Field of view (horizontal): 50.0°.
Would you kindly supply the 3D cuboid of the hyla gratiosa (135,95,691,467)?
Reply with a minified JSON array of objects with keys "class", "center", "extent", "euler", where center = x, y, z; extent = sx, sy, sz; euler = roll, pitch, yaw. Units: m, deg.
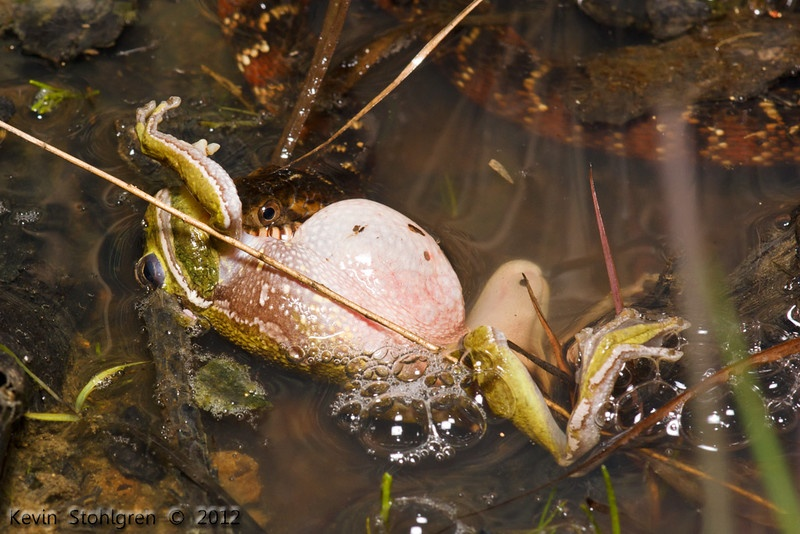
[{"class":"hyla gratiosa","center":[-0.114,0.096,3.435],"extent":[2.128,0.722,0.778],"euler":[16,65,10]}]
